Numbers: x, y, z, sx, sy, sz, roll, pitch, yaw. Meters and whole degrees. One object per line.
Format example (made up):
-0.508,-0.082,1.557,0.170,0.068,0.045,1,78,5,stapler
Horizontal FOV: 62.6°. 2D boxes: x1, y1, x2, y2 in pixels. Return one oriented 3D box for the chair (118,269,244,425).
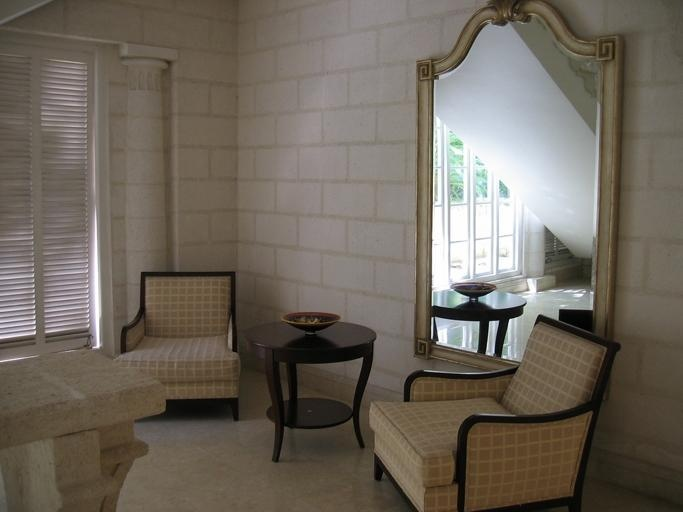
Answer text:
-1.140,0.625,4.070,0.996,0.977,0.933,-1,2,-44,chair
